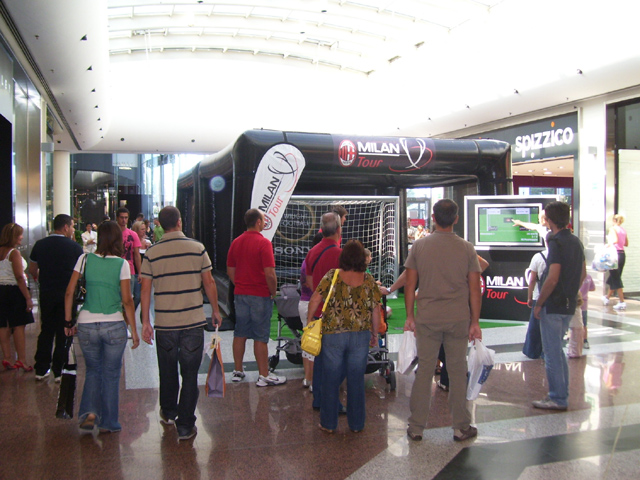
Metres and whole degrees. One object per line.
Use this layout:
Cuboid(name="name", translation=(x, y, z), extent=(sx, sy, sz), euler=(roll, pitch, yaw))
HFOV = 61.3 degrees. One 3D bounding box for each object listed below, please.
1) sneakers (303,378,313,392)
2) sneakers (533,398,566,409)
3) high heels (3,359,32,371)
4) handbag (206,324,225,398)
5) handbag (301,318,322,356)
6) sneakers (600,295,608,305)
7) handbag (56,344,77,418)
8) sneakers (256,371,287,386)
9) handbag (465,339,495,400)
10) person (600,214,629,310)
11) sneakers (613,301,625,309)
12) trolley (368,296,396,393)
Cuboid(name="sneakers", translation=(-0.134, 1.507, 5.541), extent=(0.072, 0.098, 0.219), euler=(2, -10, -12))
Cuboid(name="sneakers", translation=(2.145, 1.564, 5.066), extent=(0.271, 0.119, 0.103), euler=(2, -13, 15))
Cuboid(name="high heels", translation=(-3.425, 1.448, 6.133), extent=(0.266, 0.113, 0.152), euler=(-3, -6, -15))
Cuboid(name="handbag", translation=(-0.935, 1.066, 4.854), extent=(0.173, 0.534, 0.531), euler=(1, 7, -9))
Cuboid(name="handbag", translation=(-0.067, 0.837, 4.561), extent=(0.174, 0.341, 0.199), euler=(1, 6, 12))
Cuboid(name="sneakers", translation=(5.347, 1.158, 10.158), extent=(0.117, 0.142, 0.119), euler=(6, 6, 44))
Cuboid(name="handbag", translation=(-2.120, 1.179, 4.564), extent=(0.141, 0.679, 0.054), euler=(13, -41, -29))
Cuboid(name="sneakers", translation=(-0.508, 1.481, 5.710), extent=(0.330, 0.150, 0.122), euler=(-2, -1, -21))
Cuboid(name="handbag", translation=(1.342, 1.124, 4.682), extent=(0.141, 0.420, 0.302), euler=(7, 11, -18))
Cuboid(name="person", translation=(5.573, 0.387, 10.188), extent=(0.353, 1.695, 1.402), euler=(3, 6, 28))
Cuboid(name="sneakers", translation=(5.373, 1.198, 9.762), extent=(0.098, 0.121, 0.285), euler=(0, 0, -1))
Cuboid(name="trolley", translation=(0.565, 1.070, 5.689), extent=(0.448, 0.871, 0.574), euler=(-5, -7, 13))
